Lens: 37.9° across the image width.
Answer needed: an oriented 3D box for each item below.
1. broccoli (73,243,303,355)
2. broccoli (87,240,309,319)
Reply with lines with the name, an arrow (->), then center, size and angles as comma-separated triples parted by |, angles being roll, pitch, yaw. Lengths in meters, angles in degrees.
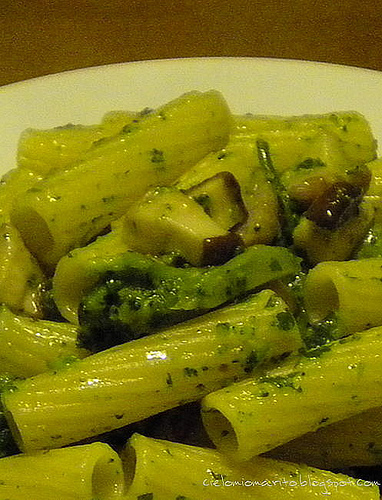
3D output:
broccoli -> 0.000, 0.034, 0.557 | 0.183, 0.047, 0.107 | -15, 10, -12
broccoli -> 0.007, 0.027, 0.531 | 0.215, 0.046, 0.052 | -9, 23, -14
